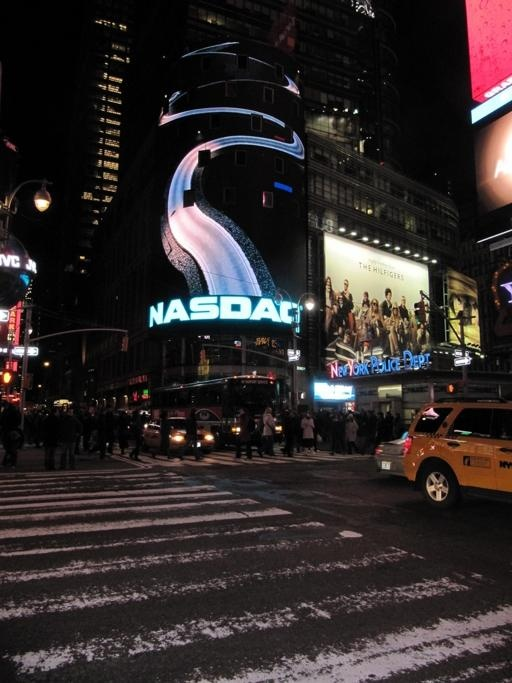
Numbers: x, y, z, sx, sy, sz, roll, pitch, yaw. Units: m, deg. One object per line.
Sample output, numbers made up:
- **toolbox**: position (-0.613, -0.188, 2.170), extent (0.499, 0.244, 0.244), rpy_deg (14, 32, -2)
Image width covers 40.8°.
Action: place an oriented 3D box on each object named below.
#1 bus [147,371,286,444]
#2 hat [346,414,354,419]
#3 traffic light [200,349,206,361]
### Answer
- **bus**: position (-2.121, 3.221, 33.549), extent (2.591, 2.710, 8.881), rpy_deg (3, -10, -28)
- **hat**: position (3.367, 2.668, 24.580), extent (0.207, 0.103, 0.287), rpy_deg (-3, 31, 7)
- **traffic light**: position (-4.656, 1.181, 60.670), extent (0.828, 1.009, 0.087), rpy_deg (-4, -5, 37)
